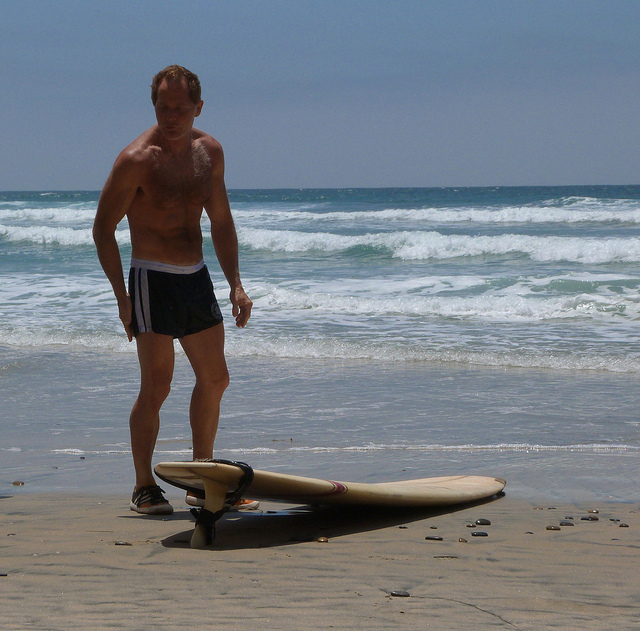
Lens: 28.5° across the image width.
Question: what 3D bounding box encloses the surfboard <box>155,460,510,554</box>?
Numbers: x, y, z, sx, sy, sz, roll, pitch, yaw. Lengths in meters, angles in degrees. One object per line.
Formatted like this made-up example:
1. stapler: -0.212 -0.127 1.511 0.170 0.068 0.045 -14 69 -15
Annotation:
1. surfboard: 0.291 0.783 5.761 2.170 0.287 0.547 5 -5 -41

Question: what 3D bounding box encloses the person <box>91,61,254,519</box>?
1. person: -0.620 -0.111 5.627 0.405 1.970 0.668 7 12 35

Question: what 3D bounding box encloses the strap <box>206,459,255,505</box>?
1. strap: -0.349 0.689 5.151 0.186 0.210 0.113 -8 12 -41
